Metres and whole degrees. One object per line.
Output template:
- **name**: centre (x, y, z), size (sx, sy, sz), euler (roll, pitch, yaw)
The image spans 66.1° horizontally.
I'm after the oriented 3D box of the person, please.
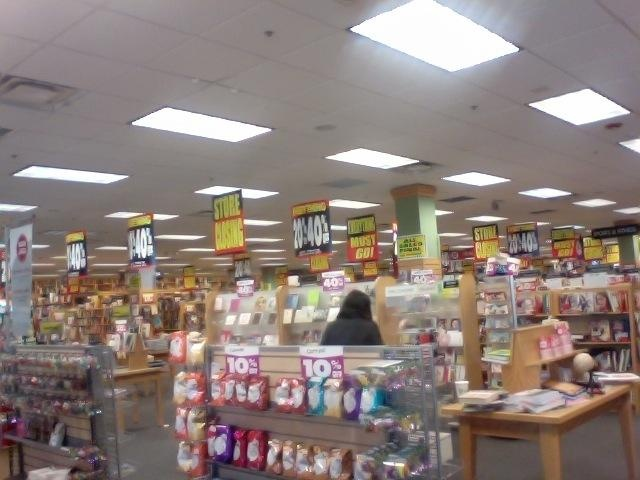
- **person**: centre (0.357, 0.808, 5.003), size (0.644, 0.719, 0.397), euler (8, 23, 18)
